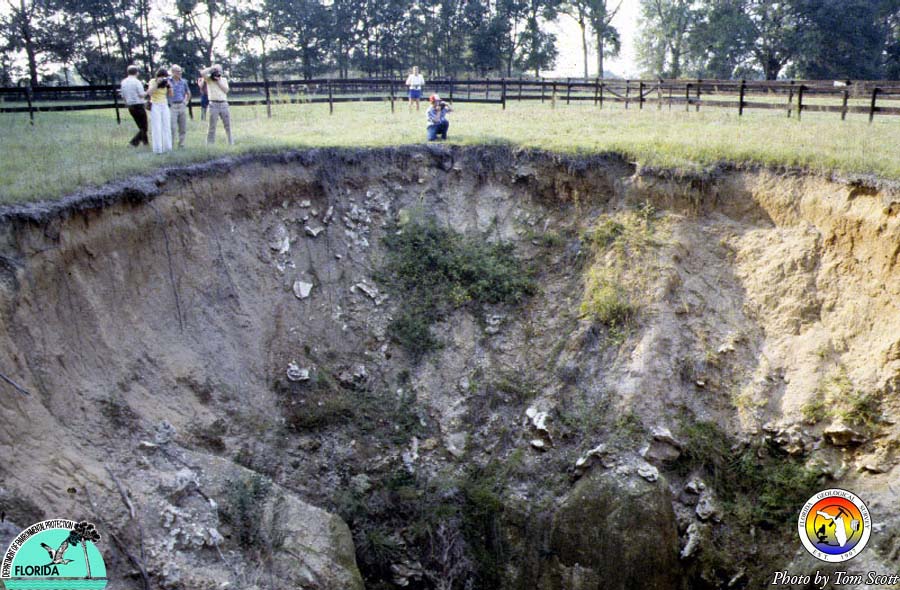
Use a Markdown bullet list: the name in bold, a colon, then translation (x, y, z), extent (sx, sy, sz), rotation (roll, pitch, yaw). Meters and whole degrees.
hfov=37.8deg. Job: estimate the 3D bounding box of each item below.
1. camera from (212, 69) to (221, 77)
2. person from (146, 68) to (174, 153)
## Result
- **camera**: translation (-9.012, -8.488, 50.095), extent (0.208, 0.105, 0.253), rotation (5, -23, -32)
- **person**: translation (-11.029, -6.923, 49.332), extent (0.822, 2.979, 1.384), rotation (-5, 12, -11)
